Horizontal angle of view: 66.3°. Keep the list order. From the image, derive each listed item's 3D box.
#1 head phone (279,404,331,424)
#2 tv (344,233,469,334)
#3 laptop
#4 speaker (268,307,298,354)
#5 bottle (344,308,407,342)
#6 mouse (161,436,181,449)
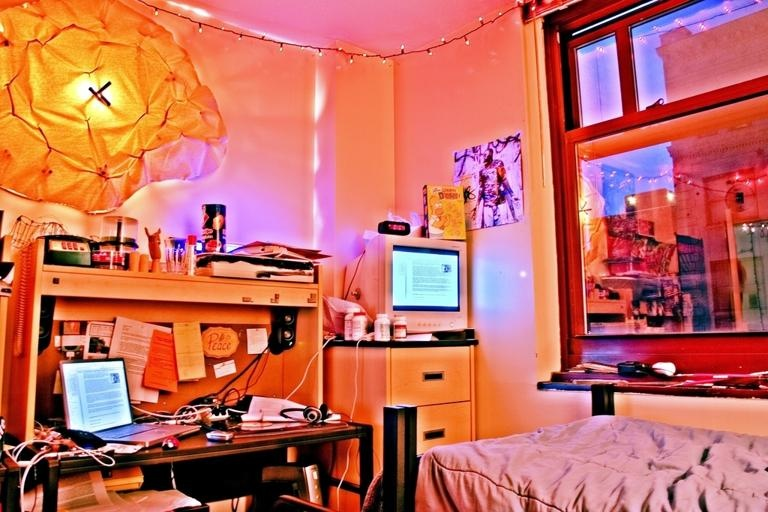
[{"bbox_3d":[-0.415,0.822,3.074,0.151,0.051,0.123,5,-2,-5],"label":"head phone"},{"bbox_3d":[0.108,0.197,3.916,0.844,0.526,0.812,-4,-8,34],"label":"tv"},{"bbox_3d":[-1.179,0.677,2.782,0.523,0.326,0.465,1,-8,7],"label":"laptop"},{"bbox_3d":[-0.592,0.430,3.583,0.194,0.298,0.154,-3,-8,22],"label":"speaker"},{"bbox_3d":[-0.063,0.406,3.478,0.384,0.134,0.264,-3,2,1],"label":"bottle"},{"bbox_3d":[-0.953,0.830,2.629,0.059,0.048,0.041,-25,25,17],"label":"mouse"}]
